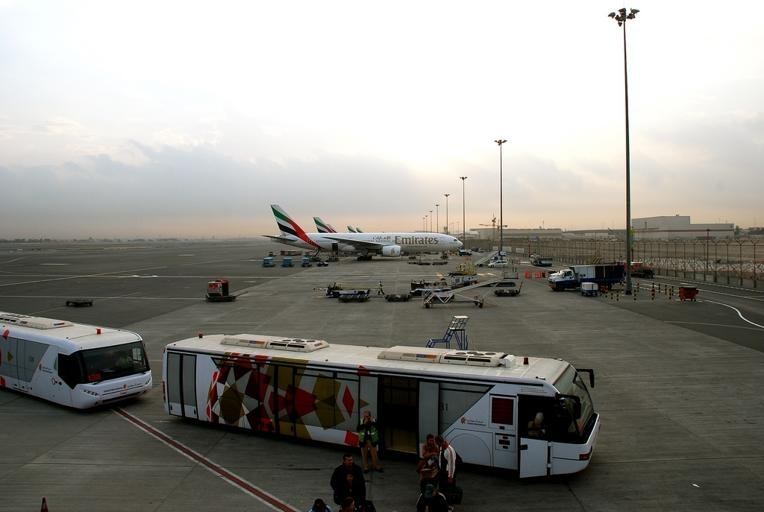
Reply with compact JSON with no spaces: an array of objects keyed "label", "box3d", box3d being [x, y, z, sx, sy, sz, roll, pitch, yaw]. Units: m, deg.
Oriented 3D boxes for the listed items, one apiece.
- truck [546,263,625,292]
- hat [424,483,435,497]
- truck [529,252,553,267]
[{"label":"truck","box3d":[21.630,2.113,62.994,6.163,3.140,6.434,2,-4,1]},{"label":"hat","box3d":[1.613,7.918,19.829,0.355,0.351,0.476,-1,-2,3]},{"label":"truck","box3d":[27.874,0.849,102.839,2.980,2.205,7.500,-1,3,1]}]
